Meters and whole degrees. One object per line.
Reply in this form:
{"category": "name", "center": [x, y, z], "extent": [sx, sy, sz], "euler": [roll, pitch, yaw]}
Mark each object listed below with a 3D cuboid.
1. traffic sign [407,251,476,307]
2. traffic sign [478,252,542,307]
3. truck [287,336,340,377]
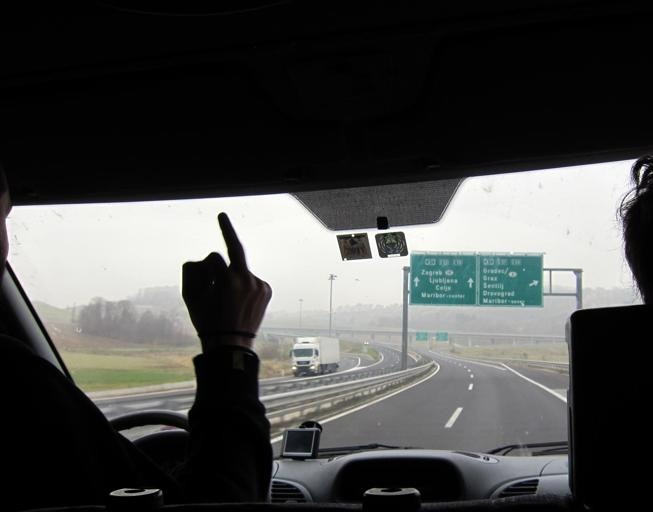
{"category": "traffic sign", "center": [2.455, 0.507, 12.332], "extent": [1.444, 1.152, 1.112], "euler": [-1, -2, 13]}
{"category": "traffic sign", "center": [3.634, 0.492, 11.523], "extent": [1.253, 1.065, 1.146], "euler": [-1, -2, 17]}
{"category": "truck", "center": [-0.772, 4.848, 27.574], "extent": [1.595, 2.303, 4.673], "euler": [-5, -21, 15]}
